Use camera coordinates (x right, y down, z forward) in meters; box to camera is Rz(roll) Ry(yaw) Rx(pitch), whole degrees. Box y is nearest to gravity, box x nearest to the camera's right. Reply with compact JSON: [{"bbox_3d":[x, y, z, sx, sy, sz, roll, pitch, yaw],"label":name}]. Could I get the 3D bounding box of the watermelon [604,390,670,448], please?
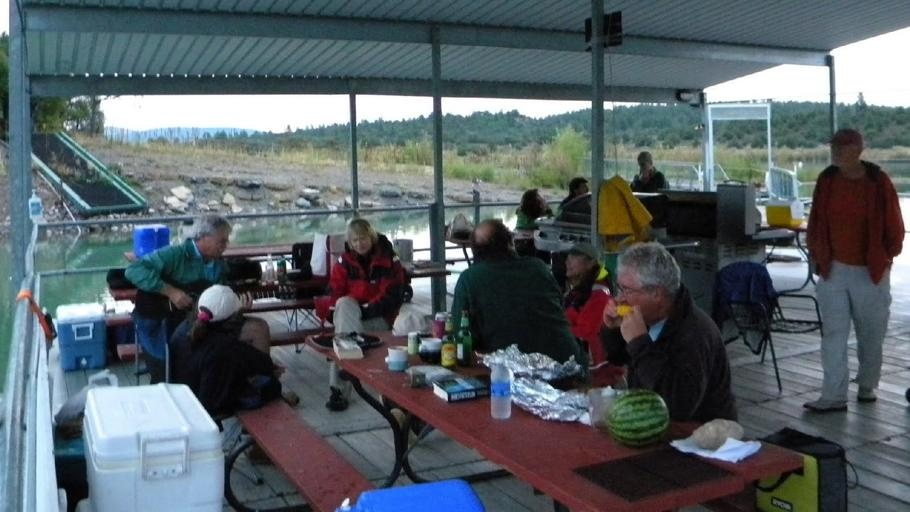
[{"bbox_3d":[1.157,1.081,4.376,0.405,0.301,0.292,-5,-24,-10],"label":"watermelon"}]
